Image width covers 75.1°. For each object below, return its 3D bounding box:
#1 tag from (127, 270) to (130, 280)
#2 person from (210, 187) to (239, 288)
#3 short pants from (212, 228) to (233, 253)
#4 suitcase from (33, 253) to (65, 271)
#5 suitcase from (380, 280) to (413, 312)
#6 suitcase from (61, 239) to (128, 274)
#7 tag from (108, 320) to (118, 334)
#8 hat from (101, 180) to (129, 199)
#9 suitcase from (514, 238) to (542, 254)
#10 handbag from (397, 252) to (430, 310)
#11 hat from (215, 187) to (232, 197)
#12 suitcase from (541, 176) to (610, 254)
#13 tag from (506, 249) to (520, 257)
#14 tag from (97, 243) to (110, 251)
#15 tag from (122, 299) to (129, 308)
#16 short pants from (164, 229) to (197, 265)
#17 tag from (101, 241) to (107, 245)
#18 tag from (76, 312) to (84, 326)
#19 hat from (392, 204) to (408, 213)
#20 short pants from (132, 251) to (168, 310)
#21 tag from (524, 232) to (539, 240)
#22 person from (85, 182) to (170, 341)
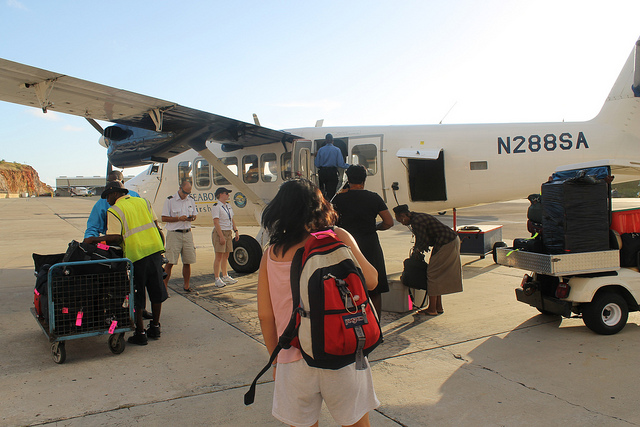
[{"bbox_3d":[-2.548,0.806,5.593,0.021,0.094,0.048,-5,10,-21],"label":"tag"},{"bbox_3d":[-2.013,0.498,8.824,0.465,2.044,0.928,-3,10,-9],"label":"person"},{"bbox_3d":[-1.979,0.509,8.778,0.430,0.694,0.522,-3,3,-2],"label":"short pants"},{"bbox_3d":[-3.666,0.652,5.651,0.382,0.343,0.113,-3,-27,5],"label":"suitcase"},{"bbox_3d":[1.255,1.444,7.271,0.601,0.507,0.614,-4,-10,16],"label":"suitcase"},{"bbox_3d":[-2.916,0.567,5.415,0.608,0.454,0.229,4,-36,-32],"label":"suitcase"},{"bbox_3d":[-2.708,1.489,5.479,0.085,0.147,0.035,-6,11,-30],"label":"tag"},{"bbox_3d":[-2.939,-0.348,5.905,0.347,0.142,0.296,-20,4,-1],"label":"hat"},{"bbox_3d":[3.165,0.502,6.368,0.227,0.189,0.326,13,-4,-31],"label":"suitcase"},{"bbox_3d":[1.637,1.104,7.134,0.903,0.928,0.628,0,-1,5],"label":"handbag"},{"bbox_3d":[-1.954,-0.477,8.876,0.460,0.174,0.284,-9,3,-27],"label":"hat"},{"bbox_3d":[3.646,0.027,5.925,0.908,1.116,0.341,0,10,4],"label":"suitcase"},{"bbox_3d":[2.968,0.605,6.444,0.225,0.032,0.029,-27,47,-26],"label":"tag"},{"bbox_3d":[-2.870,0.438,5.540,0.120,0.023,0.062,23,39,8],"label":"tag"},{"bbox_3d":[-2.580,1.197,5.584,0.114,0.124,0.075,4,-6,-20],"label":"tag"},{"bbox_3d":[-2.642,0.644,7.872,0.534,0.695,0.335,-4,10,-21],"label":"short pants"},{"bbox_3d":[-2.933,0.402,5.685,0.056,0.054,0.054,2,6,9],"label":"tag"},{"bbox_3d":[-3.074,1.356,5.343,0.067,0.172,0.043,-4,10,-16],"label":"tag"},{"bbox_3d":[1.297,-0.079,6.739,0.231,0.136,0.208,7,12,41],"label":"hat"},{"bbox_3d":[-2.391,0.951,5.882,0.448,0.816,0.257,-6,11,-29],"label":"short pants"},{"bbox_3d":[3.335,0.360,6.602,0.168,0.139,0.305,0,9,7],"label":"tag"},{"bbox_3d":[-2.659,0.727,5.966,0.878,2.326,0.841,-5,11,-23],"label":"person"}]
